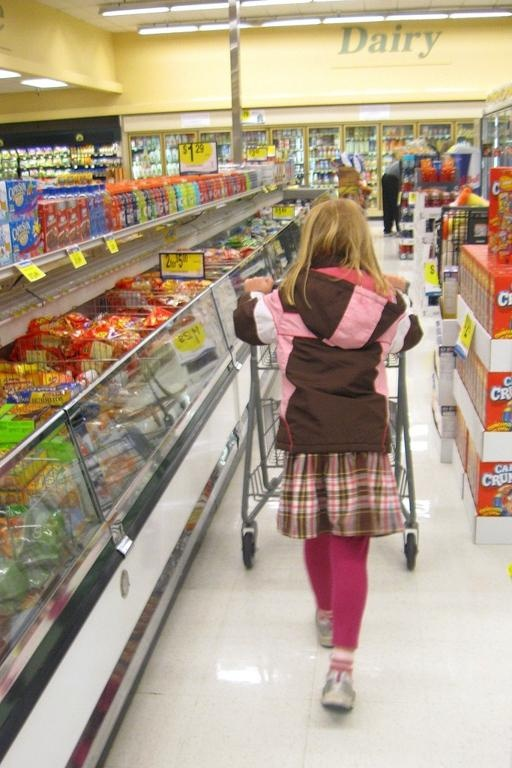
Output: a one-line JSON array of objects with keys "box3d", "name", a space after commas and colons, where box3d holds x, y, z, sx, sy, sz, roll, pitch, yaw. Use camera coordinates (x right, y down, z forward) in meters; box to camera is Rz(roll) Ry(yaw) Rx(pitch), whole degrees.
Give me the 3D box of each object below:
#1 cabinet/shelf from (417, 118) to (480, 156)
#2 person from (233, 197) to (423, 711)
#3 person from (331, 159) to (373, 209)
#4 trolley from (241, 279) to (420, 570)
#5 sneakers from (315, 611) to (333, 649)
[{"box3d": [5.039, -6.449, 13.520, 1.539, 0.846, 0.875, -8, 10, -30], "name": "cabinet/shelf"}, {"box3d": [0.193, 0.194, 1.388, 0.474, 1.345, 0.352, 0, 9, 19], "name": "person"}, {"box3d": [1.245, -2.819, 7.274, 0.407, 0.891, 0.262, 2, -10, 7], "name": "person"}, {"box3d": [0.312, 0.162, 2.516, 0.734, 1.274, 0.873, -8, -5, 13], "name": "trolley"}, {"box3d": [0.215, 0.779, 1.625, 0.041, 0.049, 0.120, 0, 5, 2], "name": "sneakers"}]
